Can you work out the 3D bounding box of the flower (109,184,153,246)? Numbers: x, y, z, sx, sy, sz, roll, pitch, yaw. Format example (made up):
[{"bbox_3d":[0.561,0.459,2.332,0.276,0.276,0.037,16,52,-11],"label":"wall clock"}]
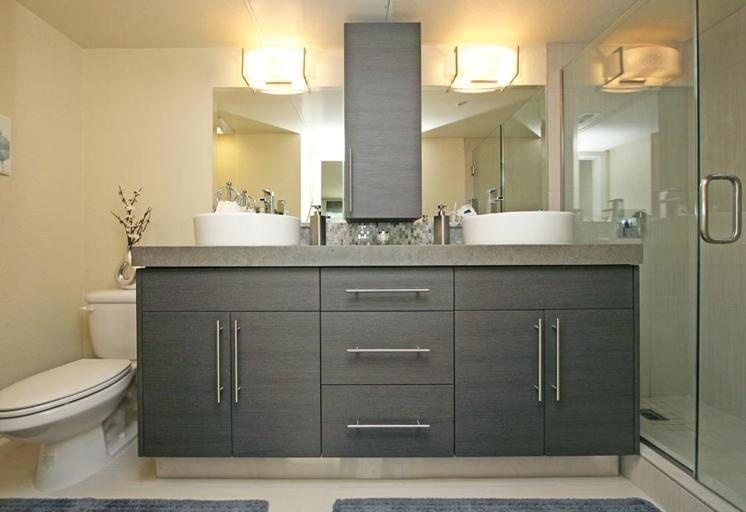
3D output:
[{"bbox_3d":[-1.495,-0.248,4.161,0.181,0.367,0.237,-7,8,-42],"label":"flower"}]

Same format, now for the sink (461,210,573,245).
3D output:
[{"bbox_3d":[0.786,-0.151,3.630,0.581,0.171,0.108,0,6,11],"label":"sink"}]

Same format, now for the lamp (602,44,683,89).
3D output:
[{"bbox_3d":[1.507,-1.030,3.734,0.297,0.119,0.224,0,-1,39],"label":"lamp"}]

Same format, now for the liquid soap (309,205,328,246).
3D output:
[{"bbox_3d":[-0.322,-0.183,3.977,0.109,0.229,0.267,-2,6,-4],"label":"liquid soap"}]

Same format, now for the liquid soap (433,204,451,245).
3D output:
[{"bbox_3d":[0.407,-0.186,3.975,0.097,0.221,0.214,-1,6,7],"label":"liquid soap"}]

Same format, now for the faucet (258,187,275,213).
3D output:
[{"bbox_3d":[-0.631,-0.333,4.018,0.094,0.150,0.204,-3,6,-13],"label":"faucet"}]

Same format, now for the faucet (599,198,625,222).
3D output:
[{"bbox_3d":[1.392,-0.266,3.869,0.045,0.123,0.130,-1,4,-26],"label":"faucet"}]

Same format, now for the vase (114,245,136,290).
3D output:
[{"bbox_3d":[-1.533,0.080,4.100,0.100,0.246,0.240,-5,7,-32],"label":"vase"}]
